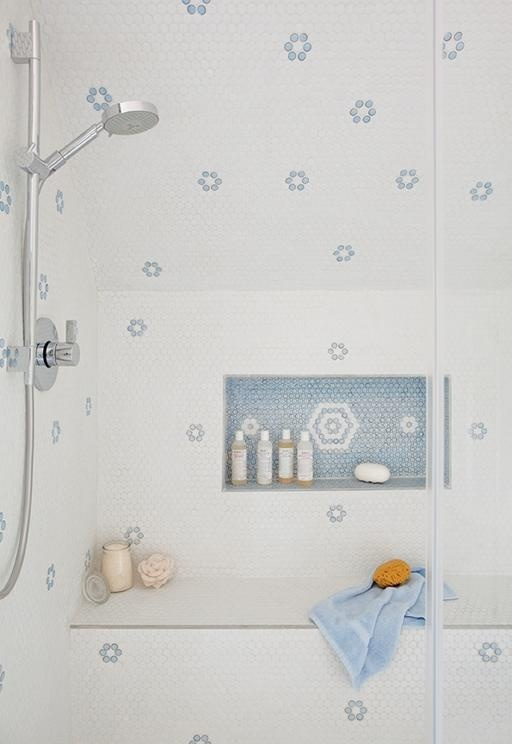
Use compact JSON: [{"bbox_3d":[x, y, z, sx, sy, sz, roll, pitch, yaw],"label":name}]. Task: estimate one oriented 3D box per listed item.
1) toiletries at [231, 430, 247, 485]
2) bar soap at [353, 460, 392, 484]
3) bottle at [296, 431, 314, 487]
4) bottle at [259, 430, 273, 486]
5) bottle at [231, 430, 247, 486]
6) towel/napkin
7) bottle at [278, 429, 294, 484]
[{"bbox_3d":[-0.046,0.236,1.951,0.041,0.139,0.062,2,-16,-2],"label":"toiletries"},{"bbox_3d":[0.321,0.285,1.990,0.097,0.061,0.089,-1,-16,7],"label":"bar soap"},{"bbox_3d":[0.137,0.242,2.010,0.050,0.160,0.114,0,-16,4],"label":"bottle"},{"bbox_3d":[0.023,0.241,1.995,0.042,0.157,0.085,2,-16,-3],"label":"bottle"},{"bbox_3d":[-0.046,0.236,1.951,0.041,0.139,0.062,2,-16,-2],"label":"bottle"},{"bbox_3d":[0.249,0.566,1.607,0.423,0.051,0.331,-11,13,-26],"label":"towel/napkin"},{"bbox_3d":[0.083,0.236,1.990,0.040,0.140,0.064,2,-16,-1],"label":"bottle"}]
